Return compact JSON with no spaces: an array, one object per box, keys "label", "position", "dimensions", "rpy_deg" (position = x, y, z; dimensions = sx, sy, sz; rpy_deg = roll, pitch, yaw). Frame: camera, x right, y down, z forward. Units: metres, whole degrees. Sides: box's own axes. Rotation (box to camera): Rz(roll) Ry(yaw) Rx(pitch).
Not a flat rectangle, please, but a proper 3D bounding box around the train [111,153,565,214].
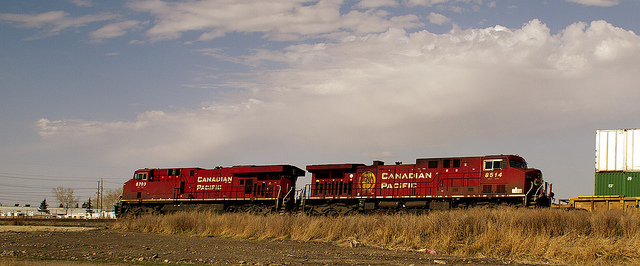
[{"label":"train","position":[0.416,5.756,68.425],"dimensions":[44.311,6.599,6.267],"rpy_deg":[-2,14,-1]}]
